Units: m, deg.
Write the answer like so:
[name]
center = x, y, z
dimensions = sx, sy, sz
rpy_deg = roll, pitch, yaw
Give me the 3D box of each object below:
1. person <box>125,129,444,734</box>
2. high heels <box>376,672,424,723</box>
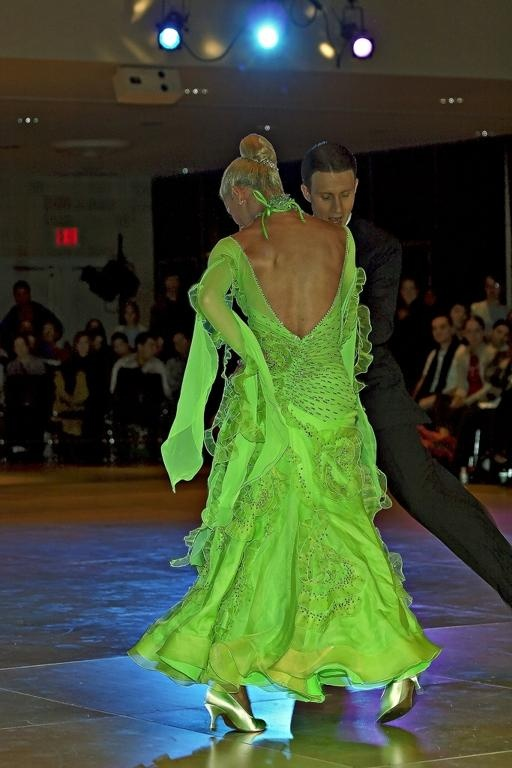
[person]
center = 0.065, 0.128, 1.594
dimensions = 0.677, 1.442, 0.516
rpy_deg = 0, 8, 12
[high heels]
center = 0.305, 0.664, 1.553
dimensions = 0.078, 0.122, 0.055
rpy_deg = 18, -7, 36
